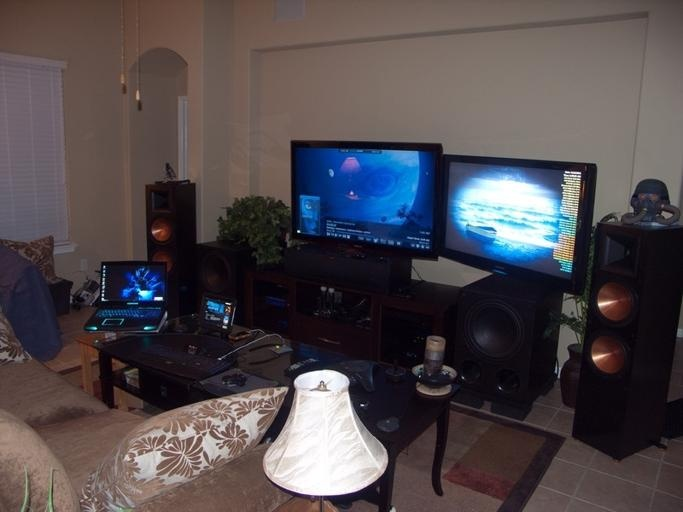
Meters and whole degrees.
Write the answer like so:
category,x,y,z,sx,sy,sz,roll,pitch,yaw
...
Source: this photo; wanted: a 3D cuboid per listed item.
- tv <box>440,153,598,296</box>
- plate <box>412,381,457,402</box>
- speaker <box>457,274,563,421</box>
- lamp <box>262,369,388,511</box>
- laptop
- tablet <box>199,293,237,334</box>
category,x,y,z,sx,sy,sz,roll,pitch,yaw
tv,1.200,-0.228,3.432,0.897,0.688,0.123,14,21,43
plate,0.518,0.719,2.759,0.235,0.081,0.131,-1,12,-12
speaker,1.132,0.632,3.528,0.717,1.061,0.744,9,14,36
lamp,-0.041,0.530,1.756,0.401,0.629,0.396,-2,12,-1
laptop,-1.507,0.305,3.660,0.555,0.423,0.493,1,20,0
tablet,-0.819,0.363,3.370,0.032,0.207,0.275,-2,-17,37
